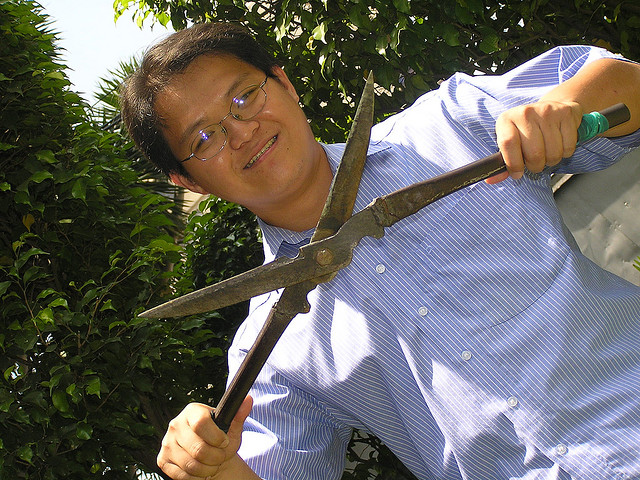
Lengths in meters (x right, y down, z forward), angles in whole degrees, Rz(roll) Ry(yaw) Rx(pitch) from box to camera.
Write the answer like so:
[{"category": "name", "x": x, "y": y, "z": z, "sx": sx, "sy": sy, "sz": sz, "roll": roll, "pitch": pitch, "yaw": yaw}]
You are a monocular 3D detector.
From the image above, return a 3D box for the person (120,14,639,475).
[{"category": "person", "x": 0.221, "y": -0.002, "z": 2.891, "sx": 1.489, "sy": 1.762, "sz": 0.888, "roll": -57, "pitch": -14, "yaw": -21}]

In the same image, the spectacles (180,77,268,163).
[{"category": "spectacles", "x": -0.351, "y": -0.455, "z": 2.777, "sx": 0.350, "sy": 0.076, "sz": 0.052, "roll": -43, "pitch": 9, "yaw": 6}]

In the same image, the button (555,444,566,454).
[{"category": "button", "x": 0.827, "y": 0.714, "z": 2.525, "sx": 0.027, "sy": 0.030, "sz": 0.007, "roll": -3, "pitch": -10, "yaw": 13}]

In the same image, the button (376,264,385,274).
[{"category": "button", "x": 0.227, "y": 0.109, "z": 2.722, "sx": 0.029, "sy": 0.033, "sz": 0.007, "roll": -5, "pitch": -2, "yaw": 18}]
